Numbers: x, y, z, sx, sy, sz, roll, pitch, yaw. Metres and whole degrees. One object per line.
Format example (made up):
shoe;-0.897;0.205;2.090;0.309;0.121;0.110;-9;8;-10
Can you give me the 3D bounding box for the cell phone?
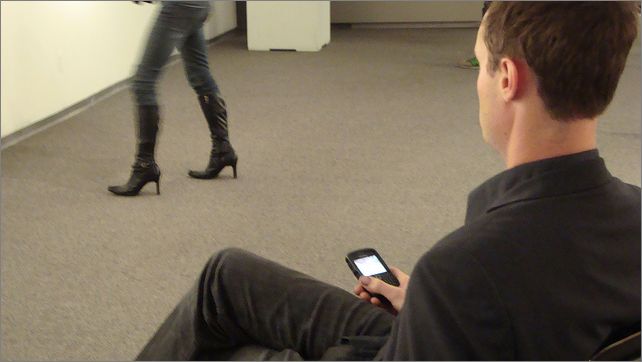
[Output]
cell phone;0.189;0.333;2.043;0.126;0.040;0.229;-14;45;-29
